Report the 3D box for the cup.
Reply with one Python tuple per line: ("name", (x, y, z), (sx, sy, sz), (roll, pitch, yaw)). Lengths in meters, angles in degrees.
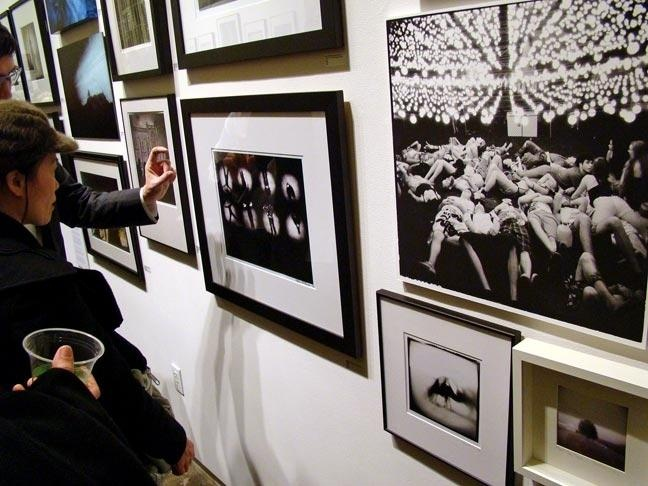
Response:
("cup", (-0.702, 0.281, 1.200), (0.120, 0.103, 0.134), (-10, -6, 2))
